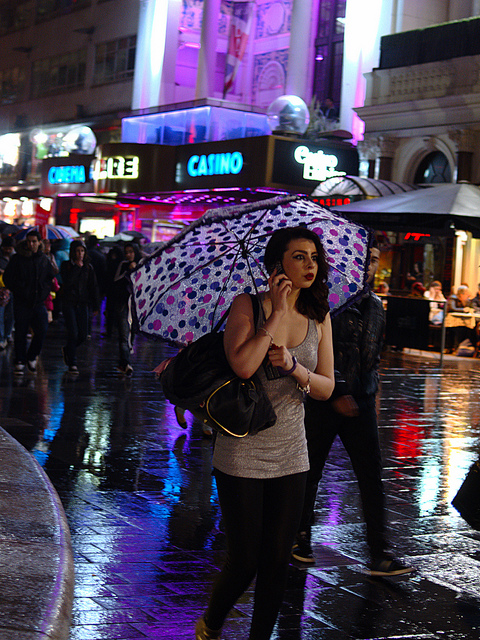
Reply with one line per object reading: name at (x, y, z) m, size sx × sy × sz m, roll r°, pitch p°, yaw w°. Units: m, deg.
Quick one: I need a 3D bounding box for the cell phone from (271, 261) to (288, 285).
cell phone at (0.147, -0.175, 2.265) m, size 0.027 × 0.076 × 0.084 m, roll -18°, pitch 4°, yaw -3°

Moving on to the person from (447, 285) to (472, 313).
person at (6.671, -0.614, 17.952) m, size 0.666 × 0.866 × 1.217 m, roll 6°, pitch 0°, yaw 17°

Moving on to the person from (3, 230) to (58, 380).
person at (-3.754, -0.282, 10.412) m, size 0.790 × 2.521 × 0.821 m, roll 6°, pitch 0°, yaw -14°
